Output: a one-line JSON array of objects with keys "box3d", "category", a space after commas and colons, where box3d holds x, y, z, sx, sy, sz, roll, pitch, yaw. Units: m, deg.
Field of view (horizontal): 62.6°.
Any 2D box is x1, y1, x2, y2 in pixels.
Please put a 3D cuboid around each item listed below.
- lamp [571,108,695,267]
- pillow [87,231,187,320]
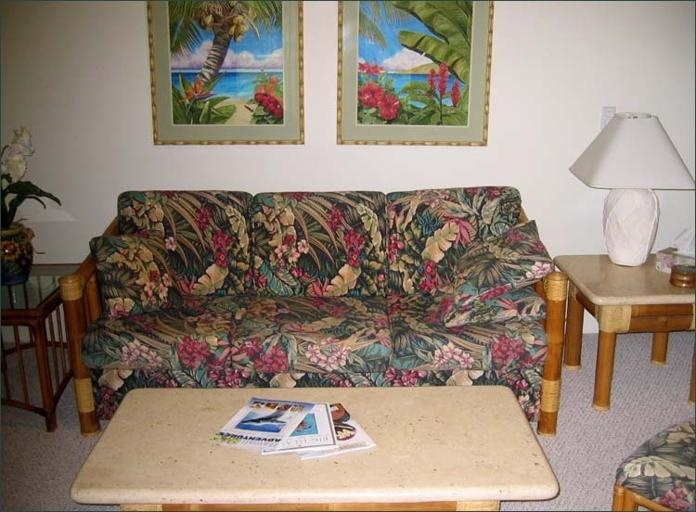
[{"box3d": [1.638, -0.452, 3.642, 0.831, 1.135, 0.884, 8, 14, 27], "category": "lamp"}, {"box3d": [-1.102, 0.100, 2.966, 0.468, 0.415, 0.143, -9, -5, -39], "category": "pillow"}]
